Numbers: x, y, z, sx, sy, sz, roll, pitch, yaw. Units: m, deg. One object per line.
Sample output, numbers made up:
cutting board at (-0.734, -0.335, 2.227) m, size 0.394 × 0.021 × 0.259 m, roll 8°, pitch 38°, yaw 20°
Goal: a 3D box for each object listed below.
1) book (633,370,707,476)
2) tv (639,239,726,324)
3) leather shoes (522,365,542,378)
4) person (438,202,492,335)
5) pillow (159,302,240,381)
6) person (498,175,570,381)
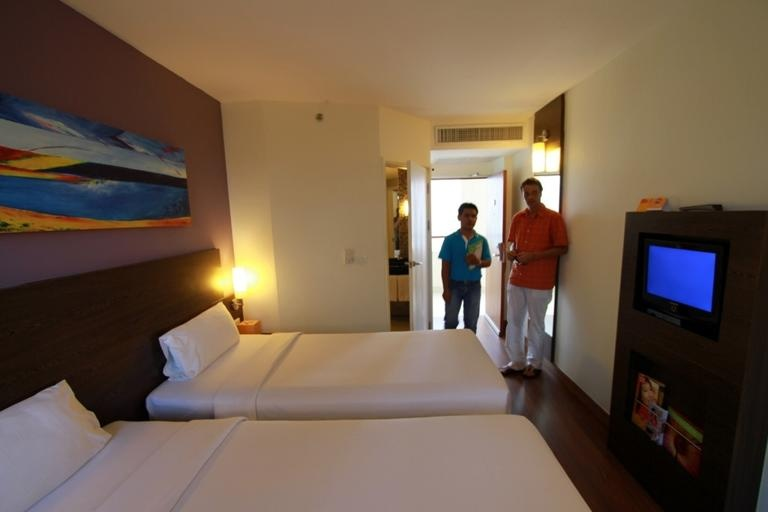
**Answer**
book at (1.979, 1.169, 3.466) m, size 0.118 × 0.555 × 0.521 m, roll -3°, pitch 9°, yaw -21°
tv at (2.090, 0.114, 3.422) m, size 0.268 × 0.523 × 0.517 m, roll -17°, pitch 19°, yaw -29°
leather shoes at (1.441, 1.137, 4.826) m, size 0.089 × 0.073 × 0.172 m, roll -6°, pitch -11°, yaw -29°
person at (0.819, 0.134, 5.060) m, size 0.511 × 1.342 × 0.361 m, roll 1°, pitch 9°, yaw 5°
pillow at (-1.474, 0.644, 4.235) m, size 0.329 × 0.451 × 0.985 m, roll 12°, pitch 25°, yaw 18°
person at (1.472, 0.216, 4.825) m, size 0.567 × 1.910 × 0.405 m, roll 3°, pitch 9°, yaw 18°
